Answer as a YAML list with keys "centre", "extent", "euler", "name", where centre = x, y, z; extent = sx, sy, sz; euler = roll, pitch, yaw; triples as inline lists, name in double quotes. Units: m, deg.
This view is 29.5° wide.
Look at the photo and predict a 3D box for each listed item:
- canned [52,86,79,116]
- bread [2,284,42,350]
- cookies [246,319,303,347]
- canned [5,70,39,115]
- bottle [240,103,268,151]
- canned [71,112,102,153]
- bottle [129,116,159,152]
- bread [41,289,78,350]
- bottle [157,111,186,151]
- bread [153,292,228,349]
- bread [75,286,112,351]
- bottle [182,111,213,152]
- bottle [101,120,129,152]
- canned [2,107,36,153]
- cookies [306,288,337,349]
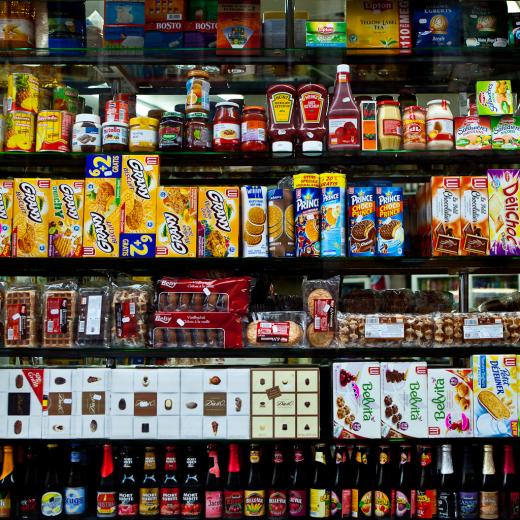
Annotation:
- centre: [-0.814, -0.664, 4.117]
  extent: [0.130, 0.118, 0.116]
  euler: [0, 91, 10]
  name: "canned"
- centre: [-0.969, 0.219, 3.953]
  extent: [0.158, 0.090, 0.227]
  euler: [1, 87, -8]
  name: "bread"
- centre: [0.058, 0.304, 3.967]
  extent: [0.228, 0.093, 0.063]
  euler: [0, 86, 0]
  name: "cookies"
- centre: [-0.975, -0.686, 4.052]
  extent: [0.178, 0.160, 0.158]
  euler: [1, 86, -12]
  name: "canned"
- centre: [-0.045, -0.538, 4.074]
  extent: [0.141, 0.135, 0.183]
  euler: [4, 96, 27]
  name: "bottle"
- centre: [-0.718, -0.520, 4.103]
  extent: [0.137, 0.125, 0.149]
  euler: [0, 90, -12]
  name: "canned"
- centre: [-0.486, -0.519, 4.102]
  extent: [0.142, 0.132, 0.125]
  euler: [2, 89, 22]
  name: "bottle"
- centre: [-0.821, 0.242, 3.979]
  extent: [0.162, 0.064, 0.213]
  euler: [2, 87, 3]
  name: "bread"
- centre: [-0.391, -0.538, 4.077]
  extent: [0.125, 0.114, 0.142]
  euler: [-8, 108, -36]
  name: "bottle"
- centre: [-0.274, 0.252, 3.997]
  extent: [0.457, 0.196, 0.198]
  euler: [2, 86, -2]
  name: "bread"
- centre: [-0.685, 0.220, 3.941]
  extent: [0.167, 0.054, 0.213]
  euler: [-2, 80, 3]
  name: "bread"
- centre: [-0.219, -0.531, 4.006]
  extent: [0.137, 0.151, 0.150]
  euler: [0, 85, -2]
  name: "bottle"
- centre: [-0.596, -0.507, 4.039]
  extent: [0.123, 0.118, 0.098]
  euler: [0, 90, -41]
  name: "bottle"
- centre: [-0.984, -0.527, 4.044]
  extent: [0.181, 0.160, 0.160]
  euler: [0, 91, -15]
  name: "canned"
- centre: [0.249, 0.247, 3.997]
  extent: [0.165, 0.052, 0.232]
  euler: [1, 90, 3]
  name: "cookies"
